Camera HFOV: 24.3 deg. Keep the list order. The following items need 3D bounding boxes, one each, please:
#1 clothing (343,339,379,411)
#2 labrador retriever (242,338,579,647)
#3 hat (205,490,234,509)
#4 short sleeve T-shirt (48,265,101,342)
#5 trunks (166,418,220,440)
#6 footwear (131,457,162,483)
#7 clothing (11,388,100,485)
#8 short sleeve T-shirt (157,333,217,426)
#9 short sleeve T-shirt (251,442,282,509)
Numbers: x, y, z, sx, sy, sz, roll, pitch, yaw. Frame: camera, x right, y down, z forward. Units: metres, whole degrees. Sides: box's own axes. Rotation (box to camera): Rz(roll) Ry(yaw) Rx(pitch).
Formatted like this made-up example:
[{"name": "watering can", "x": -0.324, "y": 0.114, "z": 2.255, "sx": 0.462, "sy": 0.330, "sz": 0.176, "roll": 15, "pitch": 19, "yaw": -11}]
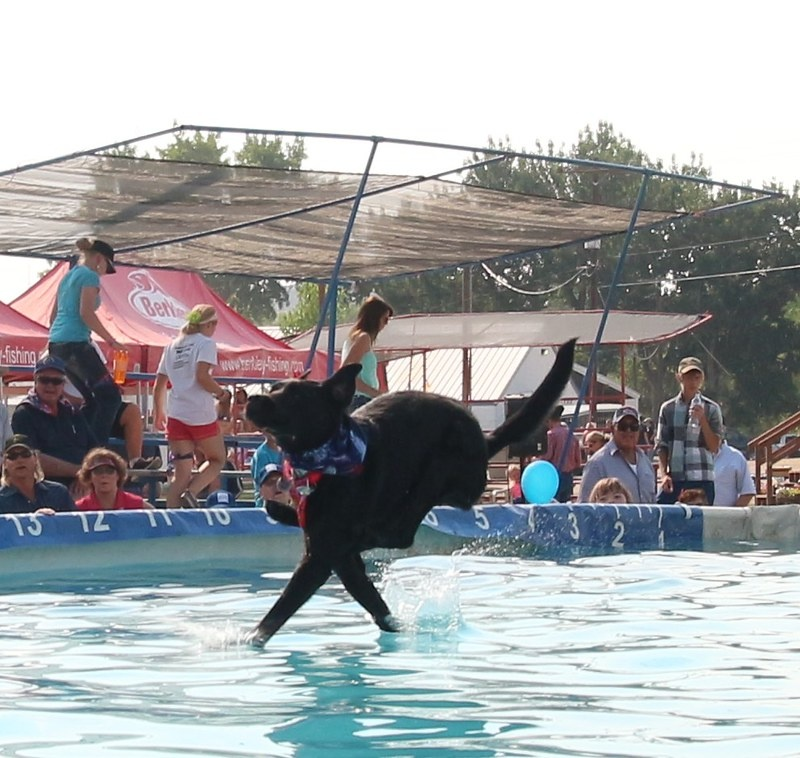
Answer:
[{"name": "clothing", "x": -0.249, "y": -0.050, "z": 11.387, "sx": 0.231, "sy": 0.401, "sz": 0.304, "roll": 1, "pitch": -6, "yaw": -20}, {"name": "labrador retriever", "x": 0.047, "y": 0.416, "z": 8.257, "sx": 1.801, "sy": 1.239, "sz": 0.429, "roll": 7, "pitch": -2, "yaw": -42}, {"name": "hat", "x": -1.089, "y": 0.726, "z": 11.207, "sx": 0.156, "sy": 0.121, "sz": 0.235, "roll": 1, "pitch": -5, "yaw": -4}, {"name": "short sleeve T-shirt", "x": -2.092, "y": -0.492, "z": 11.858, "sx": 0.320, "sy": 0.479, "sz": 0.322, "roll": 3, "pitch": -1, "yaw": 4}, {"name": "trunks", "x": -1.307, "y": 0.312, "z": 11.602, "sx": 0.246, "sy": 0.179, "sz": 0.147, "roll": 1, "pitch": 1, "yaw": 0}, {"name": "footwear", "x": -1.752, "y": 0.618, "z": 12.875, "sx": 0.110, "sy": 0.122, "sz": 0.302, "roll": 2, "pitch": -13, "yaw": -25}, {"name": "clothing", "x": -2.183, "y": 0.407, "z": 11.696, "sx": 0.616, "sy": 0.708, "sz": 0.357, "roll": 3, "pitch": -17, "yaw": -37}, {"name": "short sleeve T-shirt", "x": -1.331, "y": -0.007, "z": 11.602, "sx": 0.368, "sy": 0.543, "sz": 0.287, "roll": 3, "pitch": -1, "yaw": 6}, {"name": "short sleeve T-shirt", "x": -0.802, "y": 0.610, "z": 11.717, "sx": 0.224, "sy": 0.530, "sz": 0.148, "roll": 1, "pitch": -6, "yaw": -30}]
